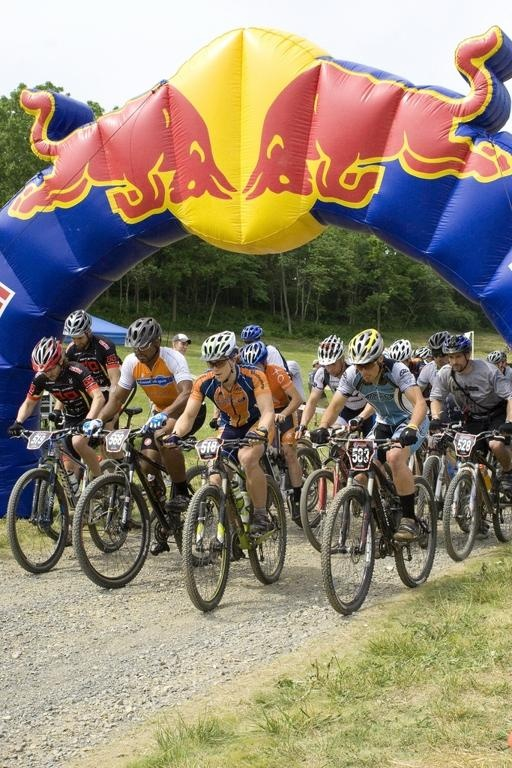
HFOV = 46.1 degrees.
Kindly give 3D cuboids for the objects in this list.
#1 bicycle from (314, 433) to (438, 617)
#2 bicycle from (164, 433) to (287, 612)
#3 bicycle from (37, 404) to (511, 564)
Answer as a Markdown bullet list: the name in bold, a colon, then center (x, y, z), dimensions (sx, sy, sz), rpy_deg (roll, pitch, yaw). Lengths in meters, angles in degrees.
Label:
- **bicycle**: center (1.218, 1.094, 4.536), dimensions (0.720, 0.993, 1.694), rpy_deg (-4, -5, 28)
- **bicycle**: center (-0.203, 1.085, 4.855), dimensions (0.569, 1.314, 1.368), rpy_deg (-8, -6, 17)
- **bicycle**: center (0.152, 0.917, 5.422), dimensions (3.167, 1.545, 1.470), rpy_deg (4, -7, -33)
